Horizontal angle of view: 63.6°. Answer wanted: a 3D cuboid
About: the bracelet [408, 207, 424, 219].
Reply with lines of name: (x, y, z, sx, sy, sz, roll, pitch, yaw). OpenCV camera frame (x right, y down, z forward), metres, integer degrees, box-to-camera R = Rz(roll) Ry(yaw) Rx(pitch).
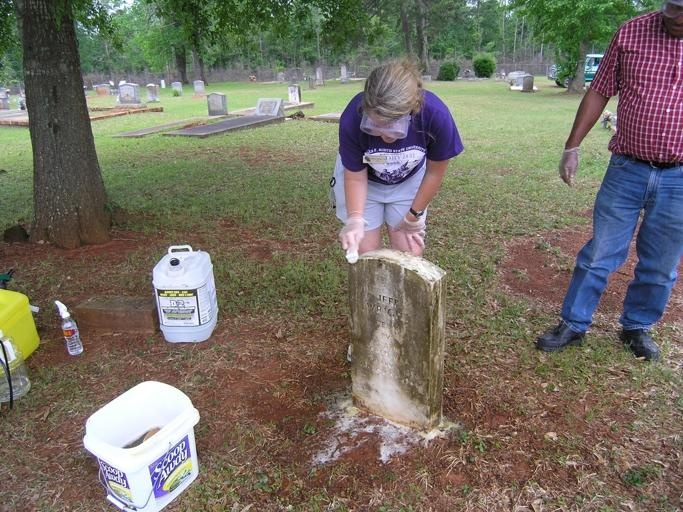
bracelet: (0.549, -0.318, 4.038, 0.078, 0.082, 0.078, -1, 14, 0)

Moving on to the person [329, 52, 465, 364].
person: (0.368, -0.606, 3.894, 0.883, 1.489, 0.777, -1, 23, -1)

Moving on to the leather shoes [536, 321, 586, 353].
leather shoes: (1.786, 0.668, 4.534, 0.440, 0.216, 0.195, -2, 6, 0)
